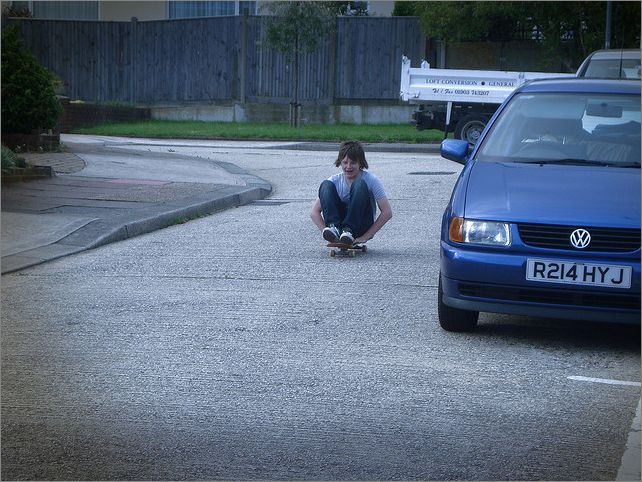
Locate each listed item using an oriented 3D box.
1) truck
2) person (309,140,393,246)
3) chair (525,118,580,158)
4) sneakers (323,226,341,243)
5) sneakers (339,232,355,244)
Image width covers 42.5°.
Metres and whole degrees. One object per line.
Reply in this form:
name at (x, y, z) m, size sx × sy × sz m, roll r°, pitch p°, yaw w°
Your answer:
truck at (4.419, -3.704, 22.368) m, size 4.399 × 2.550 × 2.700 m, roll 0°, pitch 10°, yaw 11°
person at (0.326, -0.477, 8.728) m, size 0.811 × 1.139 × 0.583 m, roll -3°, pitch 12°, yaw -13°
chair at (1.916, -0.836, 6.784) m, size 0.286 × 0.225 × 0.475 m, roll -1°, pitch 5°, yaw 8°
sneakers at (0.111, -0.063, 8.575) m, size 0.173 × 0.183 × 0.175 m, roll 1°, pitch 13°, yaw 5°
sneakers at (0.262, -0.020, 8.560) m, size 0.155 × 0.155 × 0.123 m, roll -1°, pitch 12°, yaw -5°
